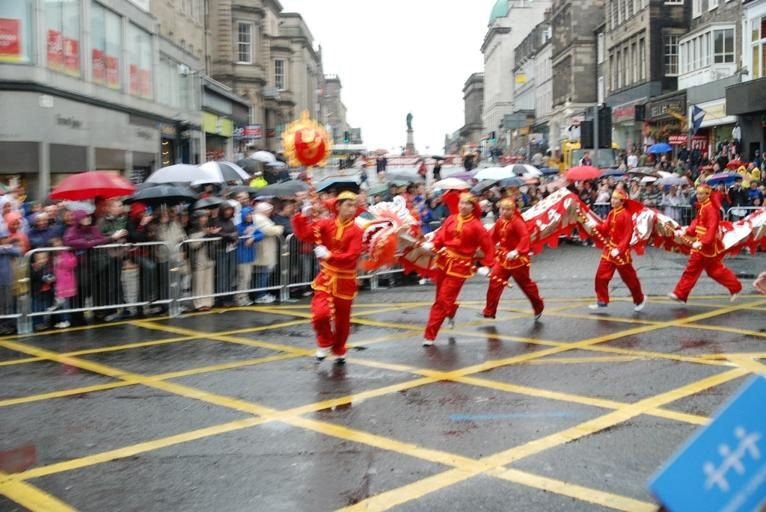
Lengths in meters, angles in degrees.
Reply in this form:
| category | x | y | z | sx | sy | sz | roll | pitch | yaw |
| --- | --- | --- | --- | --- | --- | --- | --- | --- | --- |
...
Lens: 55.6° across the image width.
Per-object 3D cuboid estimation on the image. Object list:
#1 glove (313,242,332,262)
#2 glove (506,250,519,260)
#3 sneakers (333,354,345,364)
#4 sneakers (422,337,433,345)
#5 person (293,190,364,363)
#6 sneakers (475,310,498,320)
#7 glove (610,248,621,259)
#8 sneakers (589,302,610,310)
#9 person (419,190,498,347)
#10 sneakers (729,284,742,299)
| category | x | y | z | sx | sy | sz | roll | pitch | yaw |
| --- | --- | --- | --- | --- | --- | --- | --- | --- | --- |
| glove | -0.771 | -0.039 | 9.403 | 0.197 | 0.213 | 0.335 | -2 | 6 | -3 |
| glove | 2.064 | -0.006 | 11.482 | 0.178 | 0.165 | 0.235 | -1 | 6 | 8 |
| sneakers | -0.574 | 1.372 | 9.612 | 0.150 | 0.099 | 0.107 | 2 | 1 | -1 |
| sneakers | 0.645 | 1.218 | 10.350 | 0.124 | 0.085 | 0.238 | -2 | -10 | 8 |
| person | -0.675 | 0.294 | 9.518 | 0.897 | 2.223 | 0.481 | -3 | 7 | -2 |
| sneakers | 1.661 | 0.969 | 11.835 | 0.386 | 0.121 | 0.123 | 9 | -4 | 23 |
| glove | 3.895 | -0.045 | 12.188 | 0.180 | 0.093 | 0.151 | 16 | -5 | 0 |
| sneakers | 3.703 | 0.864 | 12.467 | 0.378 | 0.112 | 0.123 | 1 | 12 | 22 |
| person | 1.099 | 0.174 | 10.640 | 1.022 | 2.132 | 0.871 | -2 | 7 | 3 |
| sneakers | 6.164 | 0.619 | 12.672 | 0.164 | 0.285 | 0.103 | 16 | 38 | 18 |
